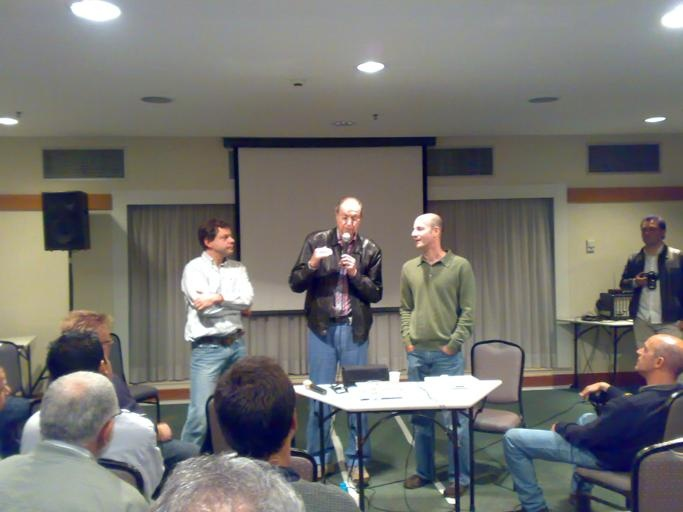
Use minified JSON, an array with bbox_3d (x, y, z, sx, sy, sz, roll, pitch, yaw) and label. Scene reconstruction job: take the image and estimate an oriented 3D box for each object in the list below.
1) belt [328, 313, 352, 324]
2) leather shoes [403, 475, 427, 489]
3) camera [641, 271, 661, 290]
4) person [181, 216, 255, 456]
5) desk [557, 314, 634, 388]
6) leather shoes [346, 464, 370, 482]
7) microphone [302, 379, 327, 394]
[{"bbox_3d":[-0.021,0.501,4.949,0.189,0.086,0.066,2,-3,-5],"label":"belt"},{"bbox_3d":[0.554,1.748,4.858,0.158,0.066,0.074,11,-12,-31],"label":"leather shoes"},{"bbox_3d":[3.172,0.263,6.462,0.136,0.158,0.089,-2,0,3],"label":"camera"},{"bbox_3d":[-1.053,0.791,5.329,0.541,2.036,0.584,-1,8,-16],"label":"person"},{"bbox_3d":[2.919,1.129,7.240,0.770,0.779,0.817,4,-7,18],"label":"desk"},{"bbox_3d":[0.152,1.670,4.844,0.126,0.158,0.352,2,-18,-15],"label":"leather shoes"},{"bbox_3d":[-0.177,0.927,4.418,0.124,0.031,0.079,22,4,27],"label":"microphone"}]
